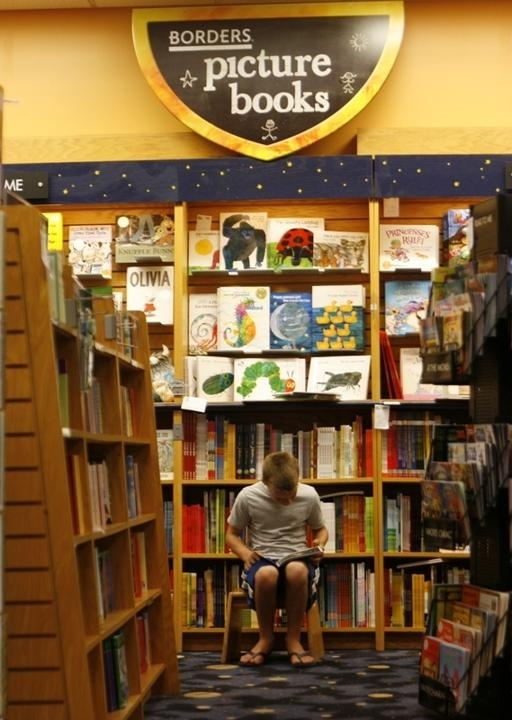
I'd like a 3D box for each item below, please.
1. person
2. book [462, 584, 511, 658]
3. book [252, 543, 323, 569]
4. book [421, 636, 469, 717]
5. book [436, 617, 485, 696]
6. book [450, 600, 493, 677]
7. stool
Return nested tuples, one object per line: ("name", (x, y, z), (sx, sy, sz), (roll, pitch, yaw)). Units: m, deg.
("person", (0.095, 0.950, 3.784), (0.500, 0.942, 0.540), (-1, 5, 4))
("book", (0.762, 0.863, 2.547), (0.069, 0.204, 0.199), (6, -6, -3))
("book", (0.207, 0.953, 3.760), (0.276, 0.074, 0.101), (-3, 5, -20))
("book", (0.639, 1.063, 2.604), (0.102, 0.268, 0.270), (3, -10, -5))
("book", (0.670, 0.973, 2.578), (0.040, 0.181, 0.173), (8, -8, -16))
("book", (0.705, 0.886, 2.557), (0.035, 0.140, 0.131), (6, -2, -27))
("stool", (-0.007, 1.279, 3.785), (0.272, 0.227, 0.213), (2, -19, 21))
